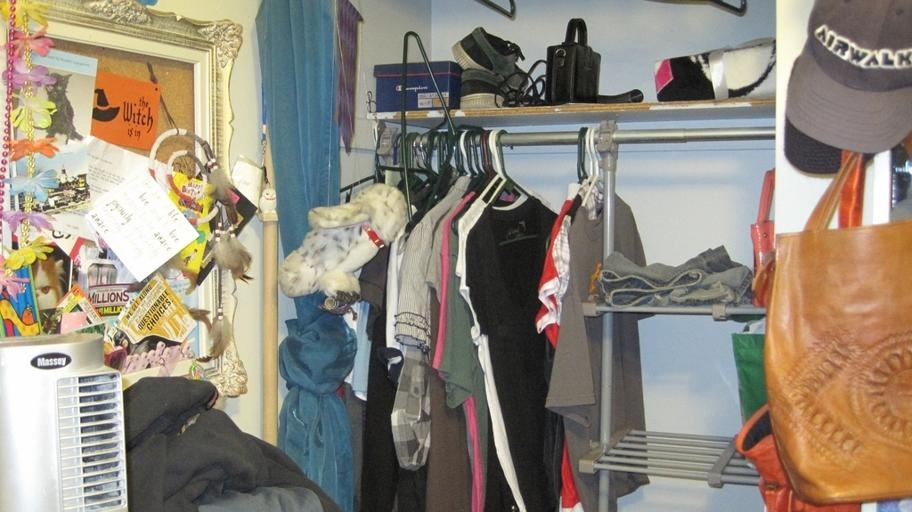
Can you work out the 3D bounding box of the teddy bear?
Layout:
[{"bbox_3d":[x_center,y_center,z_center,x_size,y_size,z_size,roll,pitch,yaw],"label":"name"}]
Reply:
[{"bbox_3d":[-0.395,-0.049,3.101,0.458,0.403,0.139,-5,7,-44],"label":"teddy bear"}]

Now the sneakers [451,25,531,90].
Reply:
[{"bbox_3d":[0.154,-0.792,3.587,0.393,0.175,0.141,15,35,-40],"label":"sneakers"}]

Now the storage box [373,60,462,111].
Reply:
[{"bbox_3d":[-0.152,-0.669,3.498,0.233,0.146,0.238,0,1,24],"label":"storage box"}]

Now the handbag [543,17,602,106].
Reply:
[{"bbox_3d":[0.467,-0.772,3.497,0.167,0.323,0.261,11,14,31],"label":"handbag"}]

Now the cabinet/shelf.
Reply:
[{"bbox_3d":[0.524,0.034,3.155,2.109,2.084,1.143,0,0,16],"label":"cabinet/shelf"}]
